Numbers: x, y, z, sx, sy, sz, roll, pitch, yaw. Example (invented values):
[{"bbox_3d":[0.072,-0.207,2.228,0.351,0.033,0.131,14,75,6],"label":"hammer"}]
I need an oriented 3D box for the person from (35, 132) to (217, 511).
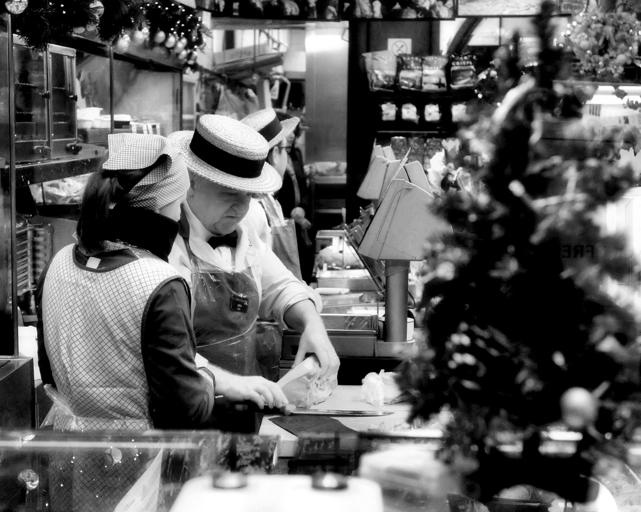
[{"bbox_3d":[-0.568,0.081,2.303,0.528,0.852,0.302,1,1,-2],"label":"person"}]

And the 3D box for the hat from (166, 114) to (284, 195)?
[{"bbox_3d":[-0.381,-0.359,2.925,0.350,0.117,0.396,24,9,-21],"label":"hat"}]

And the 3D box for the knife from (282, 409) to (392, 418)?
[{"bbox_3d":[0.063,0.521,2.712,0.343,0.020,0.082,1,1,-12],"label":"knife"}]

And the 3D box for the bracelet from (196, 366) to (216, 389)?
[{"bbox_3d":[-0.340,0.356,2.411,0.058,0.062,0.059,1,6,-6],"label":"bracelet"}]
